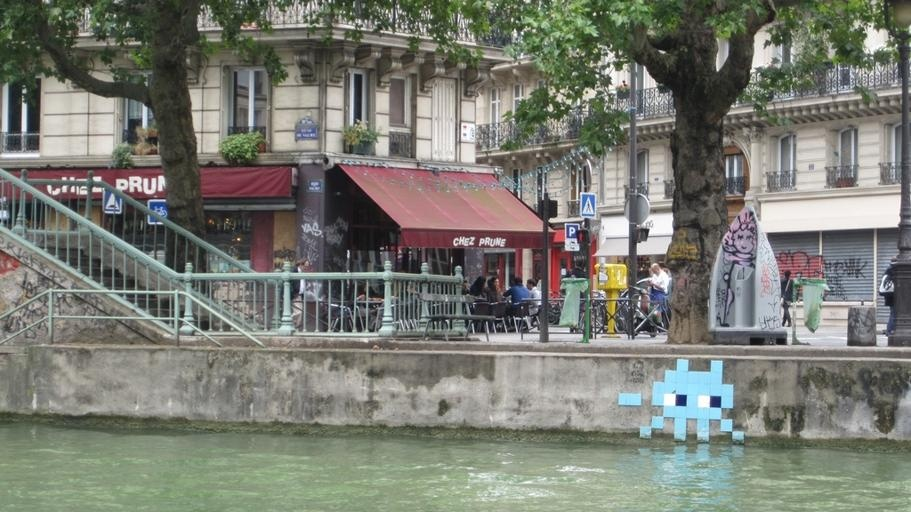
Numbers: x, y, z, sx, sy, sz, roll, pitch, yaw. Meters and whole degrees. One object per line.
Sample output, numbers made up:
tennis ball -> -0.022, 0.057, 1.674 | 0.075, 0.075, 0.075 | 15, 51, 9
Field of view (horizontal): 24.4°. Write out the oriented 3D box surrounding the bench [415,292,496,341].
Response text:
bench -> -0.006, 1.662, 55.515 | 0.933, 1.100, 2.179 | 7, 2, 41

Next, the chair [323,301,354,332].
chair -> -2.980, 1.630, 53.947 | 0.737, 0.737, 0.497 | -1, -5, 9

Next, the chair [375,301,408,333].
chair -> -1.624, 1.663, 54.441 | 0.722, 0.937, 0.759 | -1, 2, 5
